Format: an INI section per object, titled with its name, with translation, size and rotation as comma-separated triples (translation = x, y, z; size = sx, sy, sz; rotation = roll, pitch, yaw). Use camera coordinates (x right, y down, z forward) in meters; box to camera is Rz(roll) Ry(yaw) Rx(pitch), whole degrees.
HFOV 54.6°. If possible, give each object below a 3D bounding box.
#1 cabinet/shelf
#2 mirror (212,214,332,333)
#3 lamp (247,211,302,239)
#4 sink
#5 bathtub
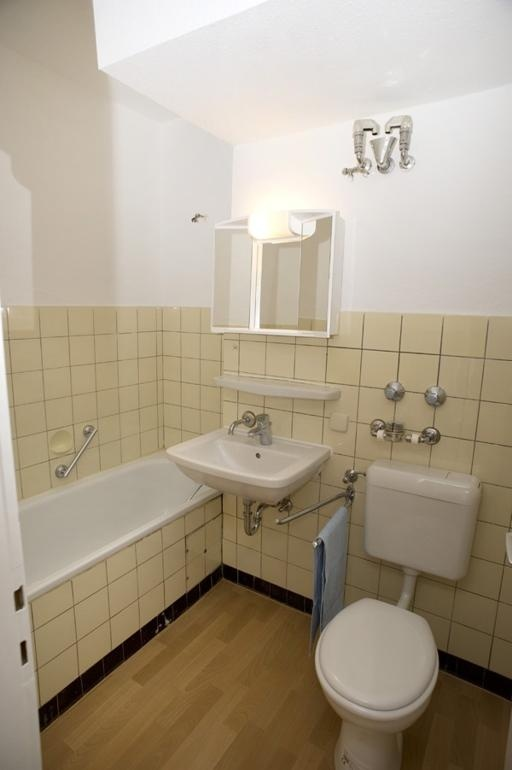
[cabinet/shelf]
translation = 0.110, -0.457, 2.041
size = 0.473, 0.481, 0.118
rotation = 6, 9, 35
[mirror]
translation = 0.087, -0.461, 2.049
size = 0.443, 0.461, 0.079
rotation = 4, 6, 36
[lamp]
translation = 0.067, -0.638, 1.998
size = 0.130, 0.078, 0.129
rotation = 10, 18, 25
[sink]
translation = -0.035, 0.394, 2.083
size = 0.611, 0.271, 0.490
rotation = 8, 13, 33
[bathtub]
translation = -0.602, 0.653, 2.283
size = 0.602, 0.343, 1.135
rotation = 7, 12, 31
